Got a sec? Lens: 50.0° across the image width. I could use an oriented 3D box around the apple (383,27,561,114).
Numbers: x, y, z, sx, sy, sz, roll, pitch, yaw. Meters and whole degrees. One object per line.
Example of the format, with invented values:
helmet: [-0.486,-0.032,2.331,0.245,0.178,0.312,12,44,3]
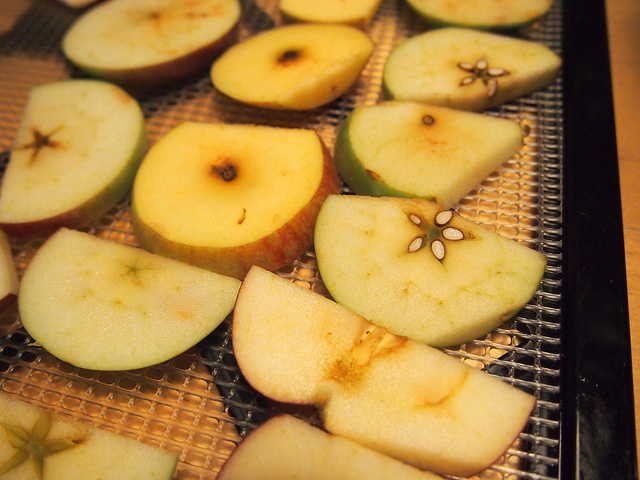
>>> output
apple: [0.319,-0.355,1.448,0.291,0.065,0.187,1,55,0]
